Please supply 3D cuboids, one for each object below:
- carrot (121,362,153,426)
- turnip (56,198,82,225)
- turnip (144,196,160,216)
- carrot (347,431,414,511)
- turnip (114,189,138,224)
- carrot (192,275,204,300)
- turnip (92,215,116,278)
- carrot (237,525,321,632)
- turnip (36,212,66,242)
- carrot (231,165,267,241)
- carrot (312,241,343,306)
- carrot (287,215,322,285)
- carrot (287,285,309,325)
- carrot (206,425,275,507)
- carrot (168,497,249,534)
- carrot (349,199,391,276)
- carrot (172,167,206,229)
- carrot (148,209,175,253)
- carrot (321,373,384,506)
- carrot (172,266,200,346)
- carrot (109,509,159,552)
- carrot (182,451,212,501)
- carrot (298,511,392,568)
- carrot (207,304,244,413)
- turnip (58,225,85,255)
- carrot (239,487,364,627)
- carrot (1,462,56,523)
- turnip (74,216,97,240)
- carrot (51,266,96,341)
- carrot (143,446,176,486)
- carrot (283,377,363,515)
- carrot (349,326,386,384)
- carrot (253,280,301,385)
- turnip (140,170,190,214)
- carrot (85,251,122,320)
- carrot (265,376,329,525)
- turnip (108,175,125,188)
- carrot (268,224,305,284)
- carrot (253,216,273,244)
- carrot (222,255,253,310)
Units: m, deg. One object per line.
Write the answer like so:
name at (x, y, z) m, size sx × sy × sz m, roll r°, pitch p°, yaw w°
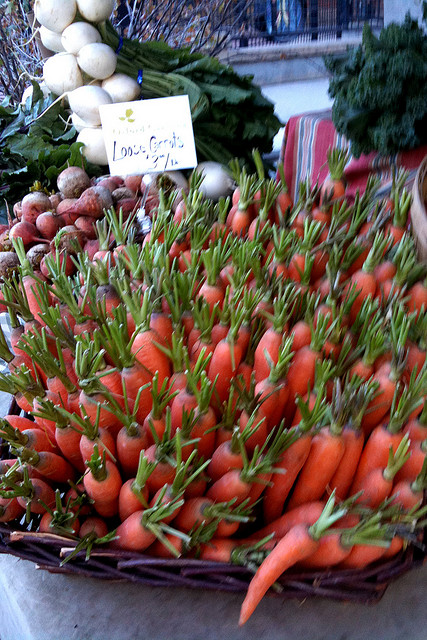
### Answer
carrot at (-0.086, 0.085, 0.522) m, size 0.024 × 0.024 × 0.081 m, roll 17°, pitch 32°, yaw -36°
turnip at (-0.334, -0.243, 1.100) m, size 0.058 × 0.076 × 0.059 m, roll -9°, pitch 9°, yaw -19°
turnip at (-0.136, -0.251, 1.057) m, size 0.031 × 0.046 × 0.021 m, roll 11°, pitch 10°, yaw 18°
carrot at (0.150, 0.135, 0.431) m, size 0.047 × 0.106 × 0.050 m, roll -3°, pitch 23°, yaw 14°
turnip at (-0.195, -0.256, 1.065) m, size 0.047 × 0.060 × 0.063 m, roll -2°, pitch -8°, yaw 3°
carrot at (-0.022, -0.052, 0.722) m, size 0.009 × 0.011 × 0.041 m, roll -4°, pitch 66°, yaw 30°
turnip at (-0.182, -0.125, 0.803) m, size 0.027 × 0.107 × 0.028 m, roll -24°, pitch -34°, yaw 38°
carrot at (0.053, 0.206, 0.384) m, size 0.078 × 0.059 × 0.024 m, roll -24°, pitch 27°, yaw -30°
turnip at (-0.358, -0.209, 1.039) m, size 0.065 × 0.077 × 0.070 m, roll 2°, pitch 5°, yaw 1°
carrot at (0.059, -0.207, 0.871) m, size 0.063 × 0.133 × 0.055 m, roll 12°, pitch -4°, yaw -19°
carrot at (0.161, -0.066, 0.666) m, size 0.024 × 0.099 × 0.024 m, roll 24°, pitch 17°, yaw 18°
carrot at (0.135, -0.088, 0.698) m, size 0.034 × 0.139 × 0.039 m, roll -5°, pitch -25°, yaw 39°
carrot at (0.107, -0.018, 0.607) m, size 0.013 × 0.051 × 0.012 m, roll 27°, pitch -1°, yaw -35°
carrot at (0.025, 0.138, 0.442) m, size 0.040 × 0.086 × 0.037 m, roll -14°, pitch 57°, yaw -31°
carrot at (-0.005, 0.172, 0.418) m, size 0.064 × 0.023 × 0.023 m, roll -19°, pitch 52°, yaw 42°
carrot at (0.236, -0.123, 0.719) m, size 0.030 × 0.033 × 0.142 m, roll 24°, pitch 78°, yaw 37°
carrot at (-0.054, -0.210, 0.901) m, size 0.024 × 0.144 × 0.025 m, roll 30°, pitch 46°, yaw -6°
carrot at (-0.088, -0.154, 0.799) m, size 0.044 × 0.042 × 0.187 m, roll -10°, pitch 24°, yaw -2°
carrot at (0.137, 0.129, 0.471) m, size 0.033 × 0.131 × 0.028 m, roll -19°, pitch 41°, yaw -38°
carrot at (-0.036, -0.015, 0.600) m, size 0.034 × 0.122 × 0.043 m, roll -6°, pitch 35°, yaw -14°
carrot at (-0.069, 0.188, 0.420) m, size 0.024 × 0.050 × 0.025 m, roll 37°, pitch 50°, yaw 5°
carrot at (-0.016, 0.145, 0.435) m, size 0.021 × 0.065 × 0.023 m, roll 0°, pitch 47°, yaw -10°
carrot at (0.111, 0.186, 0.401) m, size 0.061 × 0.023 × 0.027 m, roll -37°, pitch 7°, yaw 35°
carrot at (0.020, 0.064, 0.560) m, size 0.039 × 0.168 × 0.036 m, roll -2°, pitch 10°, yaw -15°
turnip at (-0.304, -0.168, 1.000) m, size 0.060 × 0.069 × 0.082 m, roll -5°, pitch 15°, yaw -7°
carrot at (0.059, 0.188, 0.389) m, size 0.098 × 0.087 × 0.036 m, roll -13°, pitch 23°, yaw -9°
carrot at (-0.179, 0.166, 0.460) m, size 0.043 × 0.060 × 0.030 m, roll -35°, pitch 62°, yaw -17°
turnip at (-0.277, -0.208, 1.038) m, size 0.052 × 0.046 × 0.062 m, roll -6°, pitch 37°, yaw -8°
carrot at (-0.175, -0.001, 0.604) m, size 0.040 × 0.100 × 0.051 m, roll -12°, pitch 26°, yaw -7°
carrot at (-0.047, 0.136, 0.429) m, size 0.031 × 0.042 × 0.033 m, roll -1°, pitch 3°, yaw 2°
carrot at (0.107, 0.126, 0.457) m, size 0.026 × 0.144 × 0.027 m, roll 22°, pitch 9°, yaw -20°
carrot at (0.170, 0.040, 0.522) m, size 0.021 × 0.074 × 0.024 m, roll 23°, pitch 50°, yaw 14°
carrot at (0.079, 0.028, 0.576) m, size 0.048 × 0.039 × 0.138 m, roll 5°, pitch 67°, yaw 32°
turnip at (-0.122, -0.363, 1.246) m, size 0.142 × 0.111 × 0.190 m, roll 2°, pitch 18°, yaw 2°
carrot at (-0.158, -0.037, 0.675) m, size 0.040 × 0.110 × 0.037 m, roll -11°, pitch -13°, yaw 17°
carrot at (0.060, 0.127, 0.477) m, size 0.051 × 0.160 × 0.022 m, roll 23°, pitch 1°, yaw -37°
turnip at (-0.253, -0.372, 1.249) m, size 0.036 × 0.026 × 0.047 m, roll 3°, pitch 50°, yaw -12°
carrot at (0.104, -0.093, 0.712) m, size 0.042 × 0.105 × 0.052 m, roll -3°, pitch 13°, yaw -33°
carrot at (0.080, -0.139, 0.753) m, size 0.016 × 0.023 × 0.087 m, roll 9°, pitch 54°, yaw 7°
carrot at (0.032, -0.049, 0.631) m, size 0.029 × 0.079 × 0.026 m, roll 16°, pitch 54°, yaw 6°
